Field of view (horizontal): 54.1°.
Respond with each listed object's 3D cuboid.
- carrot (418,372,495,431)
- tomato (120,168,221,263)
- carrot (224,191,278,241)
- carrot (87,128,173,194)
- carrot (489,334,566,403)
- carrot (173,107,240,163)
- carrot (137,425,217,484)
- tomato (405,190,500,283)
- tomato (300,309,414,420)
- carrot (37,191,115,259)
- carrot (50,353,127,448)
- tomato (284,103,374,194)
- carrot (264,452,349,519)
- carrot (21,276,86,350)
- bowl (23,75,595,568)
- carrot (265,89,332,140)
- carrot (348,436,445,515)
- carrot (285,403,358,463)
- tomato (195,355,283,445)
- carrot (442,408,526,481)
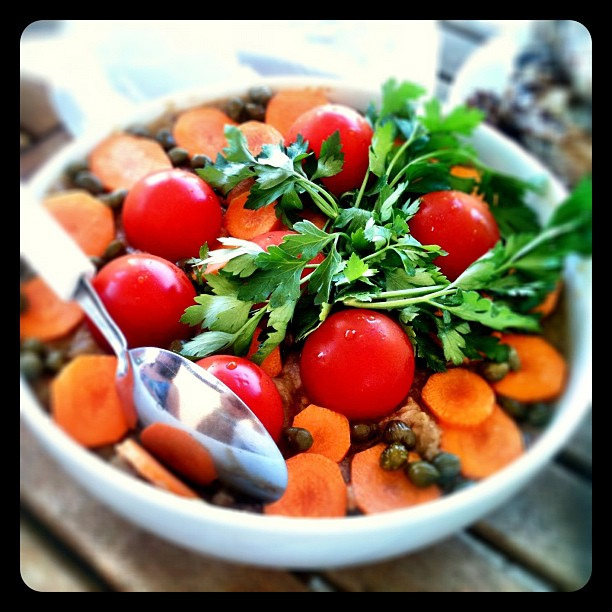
[{"bbox_3d":[0.200,0.119,0.801,0.091,0.027,0.094,20,40,5],"label":"carrot"},{"bbox_3d":[-0.201,-0.129,0.872,0.154,0.154,0.139,-7,97,-26],"label":"tomato"},{"bbox_3d":[-0.072,-0.130,0.865,0.074,0.019,0.081,48,32,5],"label":"carrot"},{"bbox_3d":[-0.271,-0.231,0.964,0.116,0.026,0.103,-25,72,-7],"label":"carrot"},{"bbox_3d":[0.316,0.094,0.836,0.104,0.031,0.094,-7,48,0],"label":"carrot"},{"bbox_3d":[-0.171,-0.290,1.006,0.130,0.133,0.029,-13,82,7],"label":"carrot"},{"bbox_3d":[-0.150,0.174,0.728,0.103,0.032,0.052,30,55,15],"label":"carrot"},{"bbox_3d":[0.211,-0.102,0.865,0.119,0.113,0.119,1,98,-17],"label":"tomato"},{"bbox_3d":[0.067,0.065,0.781,0.152,0.113,0.126,-4,95,5],"label":"tomato"},{"bbox_3d":[-0.345,-0.131,0.898,0.112,0.029,0.096,4,49,-3],"label":"carrot"},{"bbox_3d":[-0.277,0.121,0.766,0.109,0.027,0.107,1,61,3],"label":"carrot"},{"bbox_3d":[0.063,-0.216,0.895,0.141,0.133,0.143,4,89,9],"label":"tomato"},{"bbox_3d":[0.003,0.213,0.719,0.098,0.011,0.077,5,55,2],"label":"carrot"},{"bbox_3d":[-0.357,0.011,0.829,0.104,0.014,0.096,-8,88,-11],"label":"carrot"},{"bbox_3d":[0.002,-0.048,0.853,0.770,0.254,0.697,5,43,2],"label":"bowl"},{"bbox_3d":[-0.007,-0.317,1.037,0.117,0.111,0.046,11,88,-18],"label":"carrot"},{"bbox_3d":[0.097,0.197,0.721,0.111,0.034,0.089,-10,56,-8],"label":"carrot"},{"bbox_3d":[0.020,0.164,0.753,0.077,0.019,0.078,35,93,31],"label":"carrot"},{"bbox_3d":[-0.103,0.104,0.758,0.127,0.149,0.081,8,104,-4],"label":"tomato"},{"bbox_3d":[0.215,0.178,0.793,0.102,0.135,0.036,34,101,10],"label":"carrot"}]
